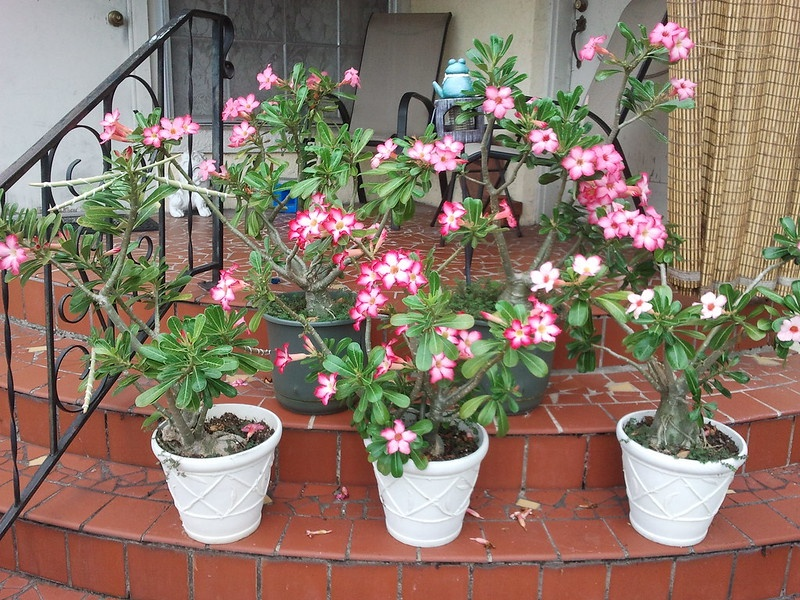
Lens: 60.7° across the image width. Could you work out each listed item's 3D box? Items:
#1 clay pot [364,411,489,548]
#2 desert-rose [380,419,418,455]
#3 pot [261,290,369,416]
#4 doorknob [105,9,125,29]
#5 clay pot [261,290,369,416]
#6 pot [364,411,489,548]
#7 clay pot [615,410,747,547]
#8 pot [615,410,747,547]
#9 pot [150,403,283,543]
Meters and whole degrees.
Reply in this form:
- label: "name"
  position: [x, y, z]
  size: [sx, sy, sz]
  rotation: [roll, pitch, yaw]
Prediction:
- label: "clay pot"
  position: [0.127, 0.671, 2.668]
  size: [0.438, 0.334, 0.440]
  rotation: [1, 14, 0]
- label: "desert-rose"
  position: [-0.004, 0.493, 2.426]
  size: [0.126, 0.127, 0.071]
  rotation: [5, 19, 5]
- label: "pot"
  position: [-0.373, 0.228, 2.985]
  size: [0.496, 0.432, 0.502]
  rotation: [0, 22, 0]
- label: "doorknob"
  position: [-2.215, -2.173, 5.274]
  size: [0.036, 0.118, 0.122]
  rotation: [16, 40, 36]
- label: "clay pot"
  position: [-0.332, 0.250, 3.106]
  size: [0.496, 0.432, 0.502]
  rotation: [0, 22, 0]
- label: "pot"
  position: [0.127, 0.675, 2.660]
  size: [0.438, 0.334, 0.440]
  rotation: [1, 14, 0]
- label: "clay pot"
  position: [1.081, 0.702, 2.753]
  size: [0.456, 0.364, 0.454]
  rotation: [0, 11, 0]
- label: "pot"
  position: [1.081, 0.712, 2.754]
  size: [0.456, 0.364, 0.454]
  rotation: [0, 11, 0]
- label: "pot"
  position: [-0.731, 0.645, 2.760]
  size: [0.526, 0.410, 0.512]
  rotation: [0, 14, 0]
